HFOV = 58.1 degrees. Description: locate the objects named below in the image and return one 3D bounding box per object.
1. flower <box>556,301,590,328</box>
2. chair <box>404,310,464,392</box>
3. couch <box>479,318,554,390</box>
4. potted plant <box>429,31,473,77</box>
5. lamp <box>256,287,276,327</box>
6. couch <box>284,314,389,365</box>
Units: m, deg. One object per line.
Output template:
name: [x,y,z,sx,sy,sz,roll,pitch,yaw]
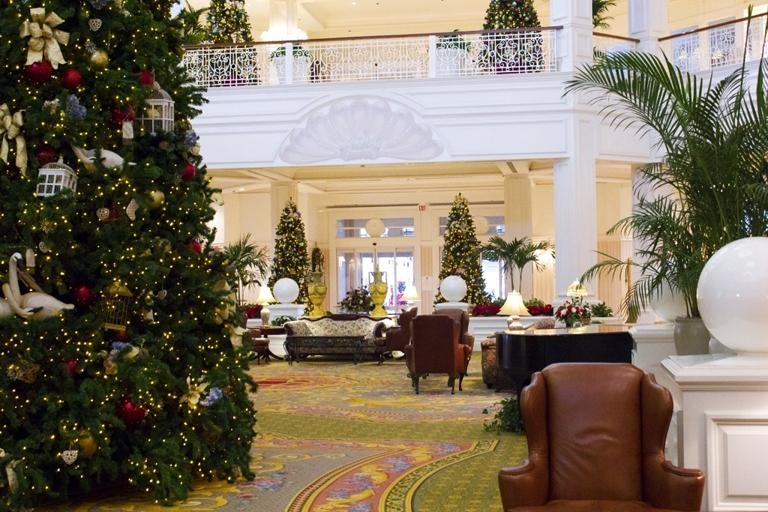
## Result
flower: [2.237,0.700,8.208,0.369,0.295,0.405,-3,-5,36]
chair: [0.738,1.431,10.397,1.017,1.401,1.058,0,-4,8]
couch: [1.831,1.496,9.787,1.068,1.349,1.223,0,-5,7]
potted plant: [1.396,-4.213,14.445,0.823,0.865,0.485,0,0,4]
lamp: [-2.718,1.123,15.758,0.389,0.841,1.773,0,0,-10]
couch: [-0.962,1.678,13.960,2.027,0.919,0.946,0,0,3]
